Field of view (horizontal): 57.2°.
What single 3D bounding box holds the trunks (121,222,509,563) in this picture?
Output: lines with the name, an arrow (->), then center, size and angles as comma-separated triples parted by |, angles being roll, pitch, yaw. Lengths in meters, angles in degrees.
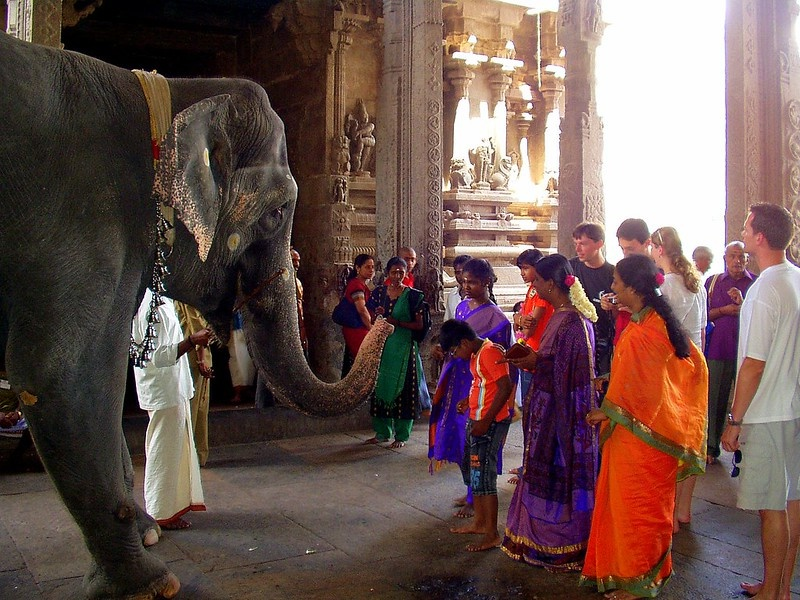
trunks -> -1.010, 0.888, 5.185 | 1.831, 1.956, 1.104 | -15, -18, 29

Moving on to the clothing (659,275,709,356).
clothing -> 1.767, 0.083, 4.588 | 0.413, 0.512, 0.250 | -16, 17, -35

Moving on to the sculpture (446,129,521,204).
sculpture -> 1.268, -2.069, 11.198 | 1.168, 0.883, 0.346 | -2, 5, -29

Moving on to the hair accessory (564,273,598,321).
hair accessory -> 1.083, 0.008, 4.213 | 0.116, 0.325, 0.124 | -40, -25, 17

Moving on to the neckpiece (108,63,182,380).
neckpiece -> -1.242, -0.385, 3.717 | 0.292, 1.327, 0.909 | 7, 4, -23
